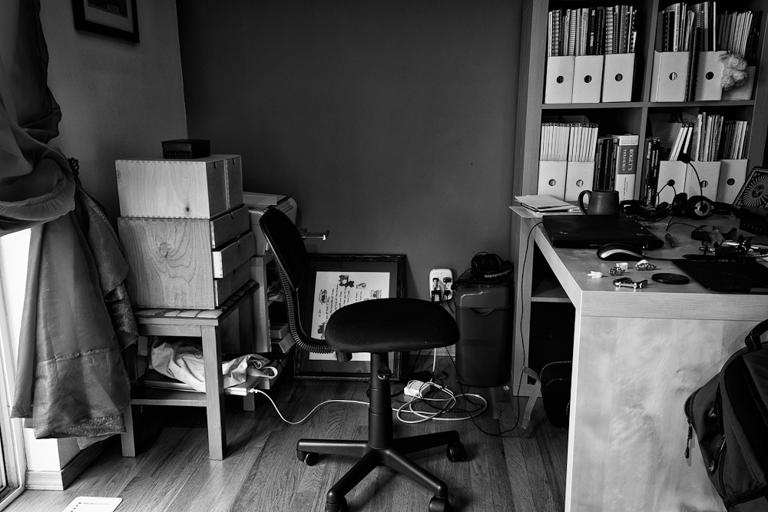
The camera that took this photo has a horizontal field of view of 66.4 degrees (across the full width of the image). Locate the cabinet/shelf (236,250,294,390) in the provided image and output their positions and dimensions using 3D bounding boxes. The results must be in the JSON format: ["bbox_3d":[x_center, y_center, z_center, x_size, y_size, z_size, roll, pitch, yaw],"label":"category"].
[{"bbox_3d":[-0.653,0.329,3.150,0.217,0.618,0.654,-3,16,2],"label":"cabinet/shelf"}]

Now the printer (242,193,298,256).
[{"bbox_3d":[-0.628,-0.228,3.471,0.332,0.209,0.239,12,6,-21],"label":"printer"}]

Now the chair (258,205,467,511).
[{"bbox_3d":[-0.091,0.451,2.724,0.969,1.282,0.729,2,16,9],"label":"chair"}]

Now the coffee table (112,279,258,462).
[{"bbox_3d":[-1.030,0.512,3.239,0.636,0.876,1.208,0,15,-3],"label":"coffee table"}]

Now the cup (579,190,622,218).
[{"bbox_3d":[1.113,-0.273,3.050,0.137,0.142,0.203,0,6,-38],"label":"cup"}]

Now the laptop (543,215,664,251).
[{"bbox_3d":[1.000,-0.115,2.717,0.277,0.067,0.263,2,18,-3],"label":"laptop"}]

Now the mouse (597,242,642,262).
[{"bbox_3d":[1.011,-0.020,2.526,0.145,0.049,0.092,-2,13,1],"label":"mouse"}]

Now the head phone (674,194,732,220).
[{"bbox_3d":[1.681,-0.255,3.081,0.214,0.088,0.188,1,10,6],"label":"head phone"}]

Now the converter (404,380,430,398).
[{"bbox_3d":[0.192,0.754,3.395,0.095,0.036,0.098,3,11,23],"label":"converter"}]

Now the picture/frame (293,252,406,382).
[{"bbox_3d":[-0.194,0.362,3.192,0.798,0.943,0.071,-1,-28,5],"label":"picture/frame"}]

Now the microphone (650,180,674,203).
[{"bbox_3d":[1.530,-0.369,3.213,0.046,0.122,0.096,31,55,28],"label":"microphone"}]

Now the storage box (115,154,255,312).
[{"bbox_3d":[-1.040,-0.113,3.292,0.654,0.971,0.969,-2,13,-2],"label":"storage box"}]
